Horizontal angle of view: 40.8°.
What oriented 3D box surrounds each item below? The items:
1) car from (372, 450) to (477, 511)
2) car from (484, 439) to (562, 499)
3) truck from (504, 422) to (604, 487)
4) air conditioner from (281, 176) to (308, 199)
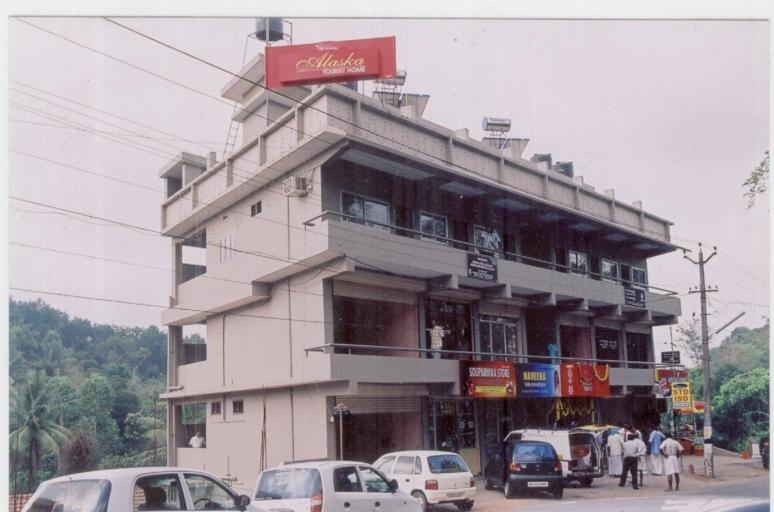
[{"bbox_3d":[1.411,8.365,39.050,1.978,1.630,3.354,10,-10,-41],"label":"car"},{"bbox_3d":[5.537,8.533,42.250,2.461,2.248,4.557,2,-5,-8],"label":"car"},{"bbox_3d":[6.916,8.219,43.116,1.951,1.778,3.273,6,-8,-31],"label":"truck"},{"bbox_3d":[-3.741,-2.847,43.347,0.853,0.669,0.853,5,-9,-32],"label":"air conditioner"}]
